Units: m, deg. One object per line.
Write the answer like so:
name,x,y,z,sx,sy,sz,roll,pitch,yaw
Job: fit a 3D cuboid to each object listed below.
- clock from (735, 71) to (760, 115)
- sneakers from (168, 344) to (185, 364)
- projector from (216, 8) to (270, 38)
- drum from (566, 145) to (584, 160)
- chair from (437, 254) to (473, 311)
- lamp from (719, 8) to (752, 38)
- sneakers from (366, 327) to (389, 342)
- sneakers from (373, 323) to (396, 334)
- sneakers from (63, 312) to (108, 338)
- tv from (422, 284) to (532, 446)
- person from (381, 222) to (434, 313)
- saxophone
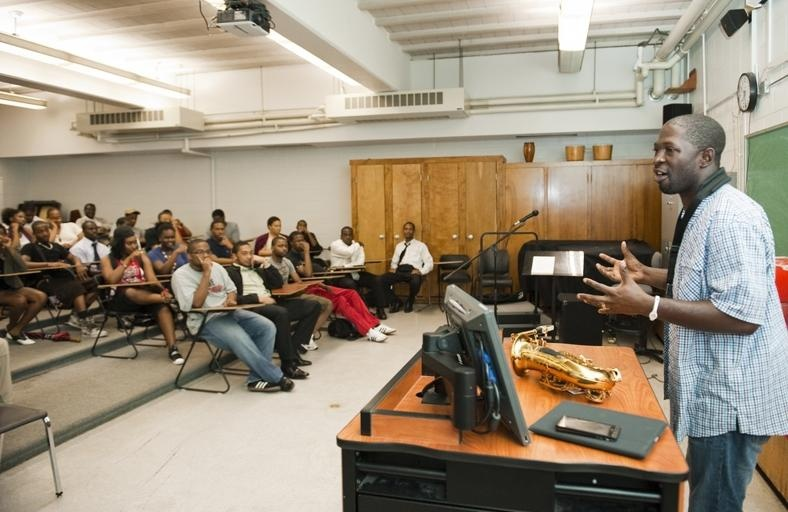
clock,3.739,-1.722,5.900,0.125,0.416,0.402,-1,8,19
sneakers,-2.343,1.073,6.054,0.114,0.112,0.315,0,3,-39
projector,-1.427,-2.110,5.199,0.304,0.114,0.356,3,2,14
drum,2.781,-1.598,8.766,0.344,0.198,0.200,3,-3,-12
chair,0.913,0.345,8.682,0.861,0.891,0.631,0,-3,4
lamp,3.616,-2.478,5.935,0.321,0.243,0.248,3,10,42
sneakers,-0.196,1.013,7.134,0.275,0.097,0.141,-1,5,34
sneakers,-0.129,0.953,7.311,0.309,0.105,0.112,7,1,-4
sneakers,-3.757,0.848,6.773,0.603,0.206,0.198,16,5,2
tv,0.507,0.631,3.264,0.318,0.517,0.792,-6,9,-10
person,0.166,0.184,8.863,1.089,1.339,0.878,-5,8,-4
saxophone,0.965,0.646,3.235,0.363,0.235,0.572,-22,23,-35
